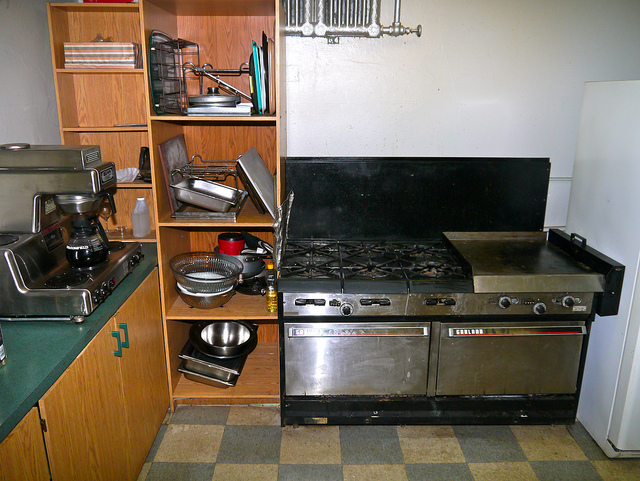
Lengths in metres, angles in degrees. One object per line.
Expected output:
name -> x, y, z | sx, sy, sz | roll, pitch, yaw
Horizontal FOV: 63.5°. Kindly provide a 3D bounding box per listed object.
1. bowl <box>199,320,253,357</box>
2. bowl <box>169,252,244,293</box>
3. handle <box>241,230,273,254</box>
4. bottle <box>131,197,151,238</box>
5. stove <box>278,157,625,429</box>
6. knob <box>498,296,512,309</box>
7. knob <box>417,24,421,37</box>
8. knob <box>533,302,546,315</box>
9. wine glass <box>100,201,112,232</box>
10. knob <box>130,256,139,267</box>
bowl -> -0.627, 0.632, 3.436 | 0.235, 0.079, 0.235 | 3, 19, -1
bowl -> -0.658, 0.211, 3.082 | 0.341, 0.132, 0.361 | 7, 16, -2
handle -> -0.409, 0.011, 3.284 | 0.155, 0.131, 0.198 | -8, 21, -25
bottle -> -1.089, -0.133, 3.142 | 0.075, 0.242, 0.177 | 4, 24, -2
stove -> 0.678, 0.311, 3.253 | 1.865, 1.501, 0.785 | 0, 18, 2
knob -> 1.039, 0.351, 2.885 | 0.084, 0.084, 0.029 | -3, 19, -11
knob -> 0.602, -1.279, 3.140 | 0.011, 0.044, 0.043 | 6, -1, -1
knob -> 1.238, 0.378, 2.900 | 0.079, 0.068, 0.029 | 0, 19, -3
wine glass -> -1.345, -0.145, 3.239 | 0.066, 0.173, 0.175 | -7, 21, -22
knob -> -1.013, 0.115, 2.817 | 0.039, 0.040, 0.038 | -1, 7, -32
